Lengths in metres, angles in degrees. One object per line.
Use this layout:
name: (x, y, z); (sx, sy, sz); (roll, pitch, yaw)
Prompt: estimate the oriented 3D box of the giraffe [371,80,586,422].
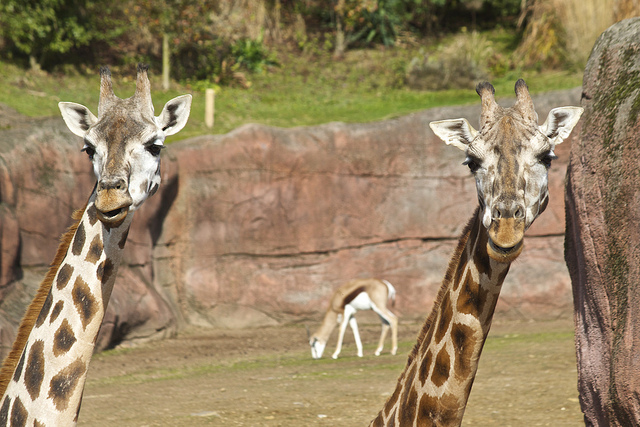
giraffe: (2.163, 0.571, 22.400); (2.665, 4.644, 1.180); (-3, 16, 4)
